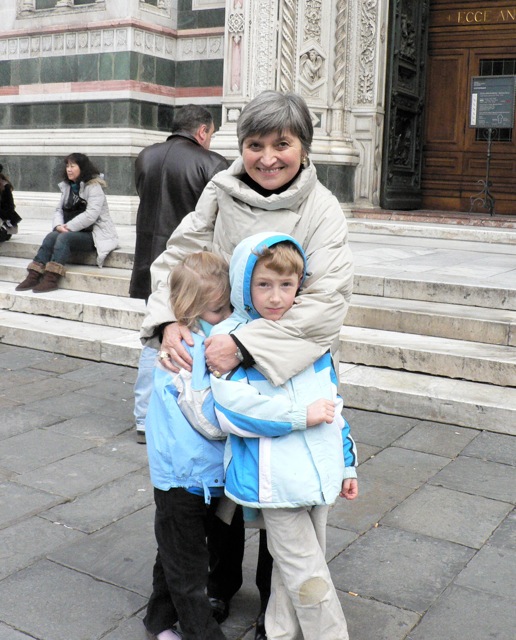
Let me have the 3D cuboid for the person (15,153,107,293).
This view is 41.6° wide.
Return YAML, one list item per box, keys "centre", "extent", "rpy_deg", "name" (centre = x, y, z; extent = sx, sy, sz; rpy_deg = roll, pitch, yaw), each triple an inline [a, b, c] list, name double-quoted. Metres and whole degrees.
- centre: [-1.926, -1.011, 7.014]
  extent: [0.959, 1.408, 0.554]
  rpy_deg: [-2, 10, -26]
  name: "person"

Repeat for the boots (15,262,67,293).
- centre: [-2.170, -0.427, 6.877]
  extent: [0.332, 0.201, 0.408]
  rpy_deg: [7, 16, 13]
  name: "boots"

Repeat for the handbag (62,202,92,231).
- centre: [-1.850, -1.071, 6.996]
  extent: [0.337, 0.319, 0.168]
  rpy_deg: [-3, -6, 30]
  name: "handbag"

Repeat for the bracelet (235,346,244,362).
- centre: [-0.044, 0.084, 1.667]
  extent: [0.020, 0.035, 0.015]
  rpy_deg: [4, 9, 7]
  name: "bracelet"
